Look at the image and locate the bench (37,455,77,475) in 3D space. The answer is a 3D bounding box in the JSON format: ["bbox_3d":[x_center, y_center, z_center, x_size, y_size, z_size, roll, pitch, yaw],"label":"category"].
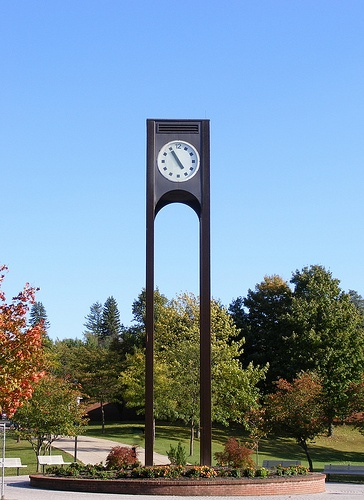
[{"bbox_3d":[-5.742,9.487,35.873,1.151,0.739,4.469,0,-17,-7],"label":"bench"}]
